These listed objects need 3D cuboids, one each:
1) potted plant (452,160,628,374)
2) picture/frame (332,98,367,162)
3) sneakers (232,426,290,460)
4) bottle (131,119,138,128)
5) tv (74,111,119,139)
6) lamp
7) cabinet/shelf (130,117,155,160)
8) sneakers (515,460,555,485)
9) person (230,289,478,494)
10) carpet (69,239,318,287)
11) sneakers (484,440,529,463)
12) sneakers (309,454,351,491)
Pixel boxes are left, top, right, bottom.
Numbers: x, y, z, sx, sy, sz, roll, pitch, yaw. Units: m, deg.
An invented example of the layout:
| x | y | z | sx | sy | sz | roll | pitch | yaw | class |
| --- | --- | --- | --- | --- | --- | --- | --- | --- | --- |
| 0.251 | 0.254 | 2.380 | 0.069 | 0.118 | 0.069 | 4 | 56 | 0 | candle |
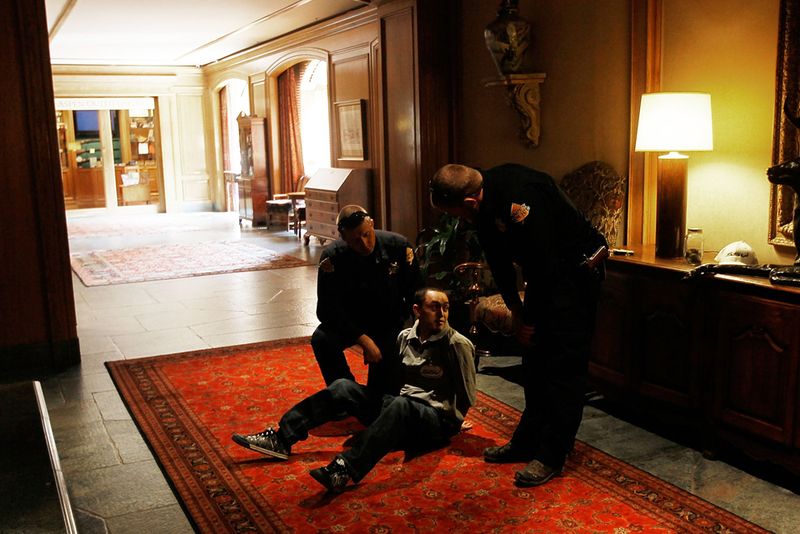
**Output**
| x | y | z | sx | sy | sz | roll | pitch | yaw | class |
| --- | --- | --- | --- | --- | --- | --- | --- | --- | --- |
| 0.726 | -0.041 | 2.841 | 0.667 | 0.958 | 0.345 | 2 | 15 | 14 | potted plant |
| -0.840 | -2.324 | 9.400 | 0.203 | 0.999 | 0.988 | -9 | 16 | -25 | picture/frame |
| -0.744 | 0.982 | 3.099 | 0.405 | 0.159 | 0.131 | 15 | -12 | -7 | sneakers |
| -7.930 | -4.280 | 16.304 | 0.216 | 0.293 | 0.054 | -7 | 16 | -20 | bottle |
| -8.702 | -4.093 | 15.654 | 1.303 | 1.002 | 0.118 | -1 | 5 | -23 | tv |
| 1.777 | -0.601 | 3.566 | 0.414 | 1.047 | 0.360 | -2 | 15 | -1 | lamp |
| -7.779 | -3.847 | 16.486 | 0.692 | 1.272 | 0.319 | -7 | 16 | -21 | cabinet/shelf |
| 0.706 | 1.074 | 2.869 | 0.219 | 0.066 | 0.093 | -1 | 0 | -30 | sneakers |
| -0.122 | 0.580 | 3.378 | 1.528 | 0.957 | 0.853 | -6 | 19 | -37 | person |
| -3.550 | -0.147 | 8.982 | 3.163 | 0.031 | 3.212 | -8 | 14 | -28 | carpet |
| 0.581 | 1.047 | 3.097 | 0.289 | 0.093 | 0.100 | 1 | 4 | -2 | sneakers |
| -0.319 | 1.052 | 2.814 | 0.123 | 0.122 | 0.261 | 38 | 2 | 26 | sneakers |
